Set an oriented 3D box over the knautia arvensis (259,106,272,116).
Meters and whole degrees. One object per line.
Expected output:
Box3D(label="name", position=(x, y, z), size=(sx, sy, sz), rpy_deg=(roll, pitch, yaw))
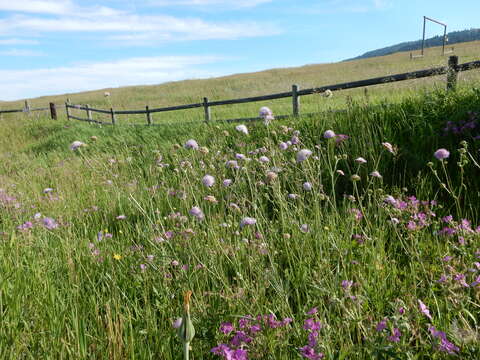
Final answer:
Box3D(label="knautia arvensis", position=(0.234, -0.647, 4.062), size=(0.080, 0.112, 0.096), rpy_deg=(3, 13, 8))
